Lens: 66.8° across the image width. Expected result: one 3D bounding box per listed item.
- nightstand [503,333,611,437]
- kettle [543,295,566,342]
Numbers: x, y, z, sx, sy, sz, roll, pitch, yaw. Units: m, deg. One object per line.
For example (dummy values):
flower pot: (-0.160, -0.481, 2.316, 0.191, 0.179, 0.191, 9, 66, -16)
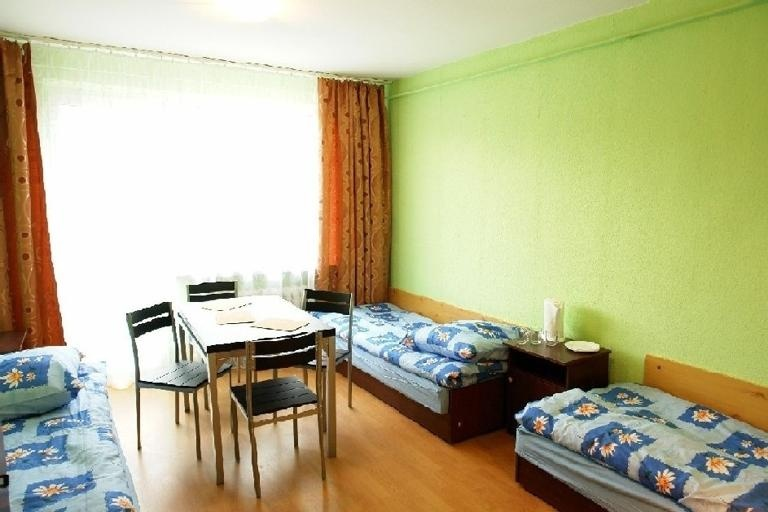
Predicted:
nightstand: (1.436, 1.097, 4.877, 0.596, 0.859, 0.709, -21, 17, -35)
kettle: (1.426, 0.555, 4.922, 0.270, 0.335, 0.269, 3, -6, 23)
